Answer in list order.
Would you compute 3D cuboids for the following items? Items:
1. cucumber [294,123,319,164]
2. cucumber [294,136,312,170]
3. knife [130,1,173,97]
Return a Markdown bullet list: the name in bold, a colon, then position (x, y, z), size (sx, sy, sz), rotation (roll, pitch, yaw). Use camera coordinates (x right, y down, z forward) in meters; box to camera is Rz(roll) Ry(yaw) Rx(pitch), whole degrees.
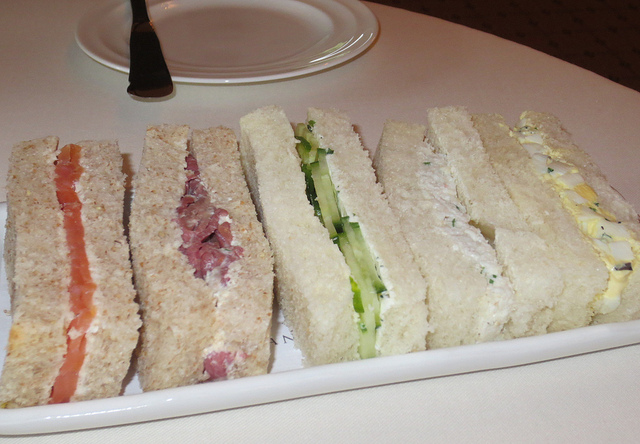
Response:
- **cucumber**: position (-0.059, -0.351, 2.461), size (0.046, 0.162, 0.163), rotation (-10, 44, -20)
- **cucumber**: position (-0.071, -0.305, 2.427), size (0.035, 0.133, 0.083), rotation (-7, -9, -41)
- **knife**: position (-0.905, -0.895, 2.841), size (0.159, 0.082, 0.745), rotation (-7, 50, -16)
